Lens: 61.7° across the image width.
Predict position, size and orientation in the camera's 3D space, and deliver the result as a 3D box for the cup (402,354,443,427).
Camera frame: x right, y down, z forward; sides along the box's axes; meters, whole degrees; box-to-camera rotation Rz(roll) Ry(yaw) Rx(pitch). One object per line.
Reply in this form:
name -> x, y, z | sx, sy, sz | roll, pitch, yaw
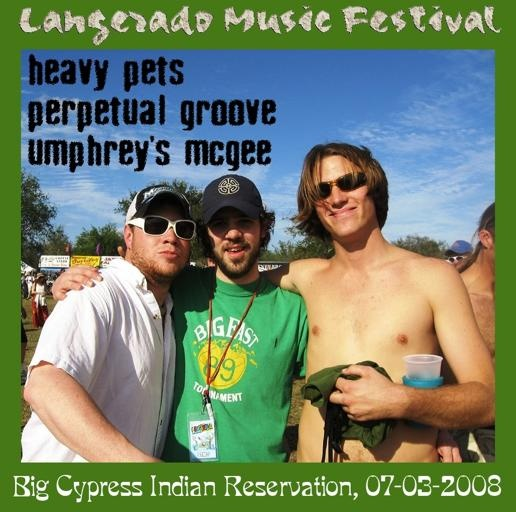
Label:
cup -> 1.054, 0.749, 2.786 | 0.243, 0.199, 0.229 | -3, 2, 0
